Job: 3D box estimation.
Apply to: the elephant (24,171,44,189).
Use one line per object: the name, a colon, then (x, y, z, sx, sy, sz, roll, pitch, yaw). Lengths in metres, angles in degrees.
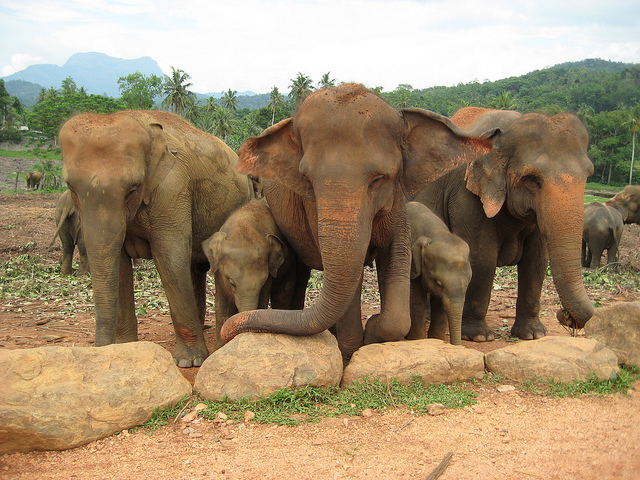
elephant: (-13.090, -2.783, 27.590, 0.527, 0.703, 1.116, 0, 2, 7)

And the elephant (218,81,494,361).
elephant: (0.347, -0.299, 5.570, 2.320, 1.901, 2.483, 0, 0, -1)

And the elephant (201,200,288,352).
elephant: (-0.785, 0.433, 5.827, 0.753, 1.359, 1.660, 2, 14, -10)

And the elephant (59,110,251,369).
elephant: (-1.702, -0.098, 6.375, 1.222, 2.525, 3.023, -2, 2, 10)

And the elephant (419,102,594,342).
elephant: (1.948, -0.087, 6.523, 1.535, 2.316, 3.034, 0, 3, -14)
